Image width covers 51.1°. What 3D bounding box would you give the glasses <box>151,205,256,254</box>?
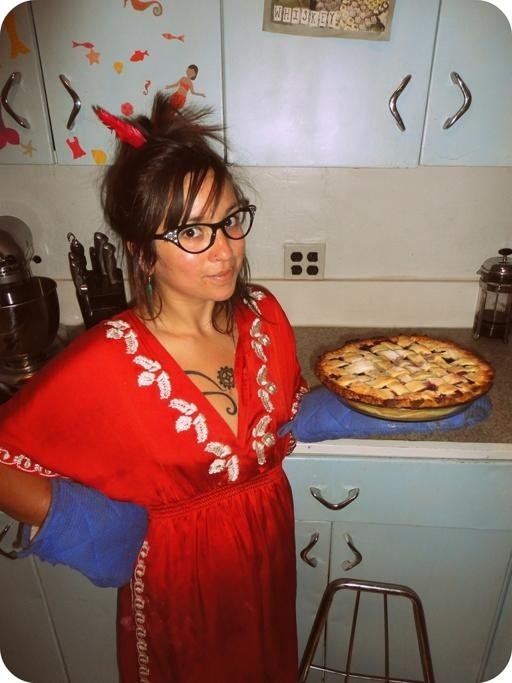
[{"bbox_3d":[-0.100,-0.175,0.855,0.127,0.036,0.125,-25,28,-38],"label":"glasses"}]

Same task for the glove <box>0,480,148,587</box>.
[{"bbox_3d":[-0.268,0.322,0.898,0.255,0.153,0.101,29,-17,-36],"label":"glove"}]

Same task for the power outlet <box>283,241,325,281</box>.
[{"bbox_3d":[0.138,-0.238,1.537,0.137,0.107,0.016,-1,29,-1],"label":"power outlet"}]
